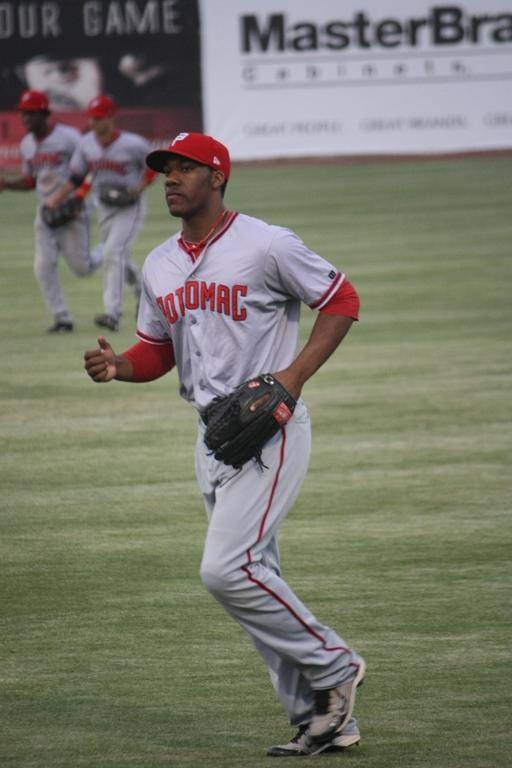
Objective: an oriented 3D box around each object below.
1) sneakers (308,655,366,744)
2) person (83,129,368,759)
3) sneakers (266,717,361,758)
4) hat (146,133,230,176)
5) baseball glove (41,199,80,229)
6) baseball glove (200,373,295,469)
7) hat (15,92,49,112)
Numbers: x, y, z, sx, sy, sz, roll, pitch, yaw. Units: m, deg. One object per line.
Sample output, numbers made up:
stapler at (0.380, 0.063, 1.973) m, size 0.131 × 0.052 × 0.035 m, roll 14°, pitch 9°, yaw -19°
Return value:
sneakers at (0.266, 1.043, 5.307) m, size 0.123 × 0.279 × 0.096 m, roll 37°, pitch -30°, yaw -24°
person at (-0.029, 0.161, 5.386) m, size 0.658 × 1.935 × 1.086 m, roll -15°, pitch 21°, yaw -39°
sneakers at (0.197, 1.171, 5.312) m, size 0.333 × 0.153 × 0.112 m, roll -1°, pitch -5°, yaw -4°
hat at (-0.226, -0.815, 5.451) m, size 0.231 × 0.106 × 0.157 m, roll 12°, pitch -7°, yaw -29°
baseball glove at (-1.184, -1.023, 9.611) m, size 0.271 × 0.199 × 0.097 m, roll 6°, pitch 18°, yaw 23°
baseball glove at (-0.042, 0.103, 5.327) m, size 0.338 × 0.245 × 0.152 m, roll -43°, pitch 19°, yaw -2°
hat at (-1.283, -1.623, 9.198) m, size 0.179 × 0.122 × 0.174 m, roll -3°, pitch 16°, yaw -7°
